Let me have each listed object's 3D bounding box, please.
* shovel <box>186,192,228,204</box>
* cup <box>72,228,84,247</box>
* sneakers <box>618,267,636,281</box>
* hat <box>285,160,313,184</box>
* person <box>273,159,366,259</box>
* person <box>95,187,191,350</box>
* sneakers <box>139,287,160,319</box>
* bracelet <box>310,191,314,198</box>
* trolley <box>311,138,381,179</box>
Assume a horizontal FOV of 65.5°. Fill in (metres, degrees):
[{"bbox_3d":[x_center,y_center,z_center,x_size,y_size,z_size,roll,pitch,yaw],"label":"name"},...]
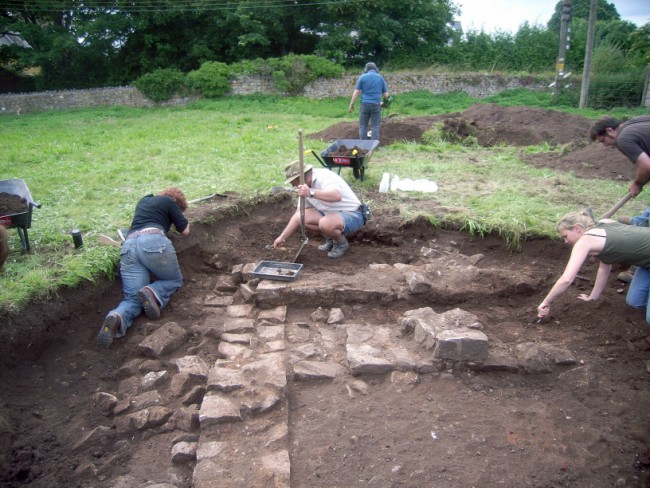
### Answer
[{"bbox_3d":[-1.860,-0.727,7.996,0.679,0.069,0.254,-16,24,-36],"label":"shovel"},{"bbox_3d":[-3.206,-0.075,6.545,0.115,0.267,0.146,-15,28,-25],"label":"cup"},{"bbox_3d":[3.548,0.359,5.999,0.155,0.067,0.198,12,43,46],"label":"sneakers"},{"bbox_3d":[-0.392,-0.999,6.830,0.356,0.134,0.333,-39,11,-38],"label":"hat"},{"bbox_3d":[-0.091,-0.483,7.174,1.502,1.108,0.994,-1,7,-9],"label":"person"},{"bbox_3d":[-1.753,0.220,6.191,0.867,1.083,1.945,6,35,3],"label":"person"},{"bbox_3d":[-2.050,0.703,6.047,0.205,0.385,0.198,-16,1,2],"label":"sneakers"},{"bbox_3d":[-0.181,-0.663,6.710,0.071,0.071,0.090,9,5,-8],"label":"bracelet"},{"bbox_3d":[0.417,-1.449,9.000,0.934,0.490,1.174,7,-13,-11],"label":"trolley"}]
